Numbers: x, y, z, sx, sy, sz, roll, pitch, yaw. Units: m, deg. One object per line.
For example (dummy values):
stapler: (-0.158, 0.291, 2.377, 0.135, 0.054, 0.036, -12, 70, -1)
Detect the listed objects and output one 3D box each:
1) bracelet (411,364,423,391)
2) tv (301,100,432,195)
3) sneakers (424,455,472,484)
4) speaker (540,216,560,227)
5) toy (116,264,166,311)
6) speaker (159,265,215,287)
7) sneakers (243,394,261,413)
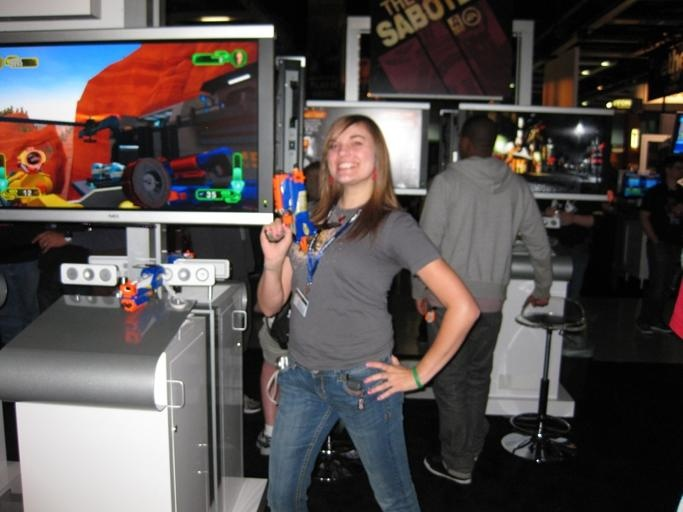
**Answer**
bracelet: (0.286, 0.463, 2.151, 0.023, 0.088, 0.079, -13, -7, -6)
tv: (0.194, -0.847, 4.506, 1.038, 0.759, 0.090, 0, 18, 1)
sneakers: (0.637, 1.269, 3.399, 0.102, 0.107, 0.259, -10, 19, -43)
speaker: (1.511, -0.251, 4.114, 0.116, 0.078, 0.074, 2, 5, 20)
toy: (-0.848, 0.123, 2.440, 0.087, 0.134, 0.298, 6, 17, 5)
speaker: (-0.655, 0.080, 2.472, 0.226, 0.111, 0.066, 5, 13, 8)
sneakers: (-0.597, 1.071, 4.074, 0.217, 0.091, 0.080, 0, 4, 11)
